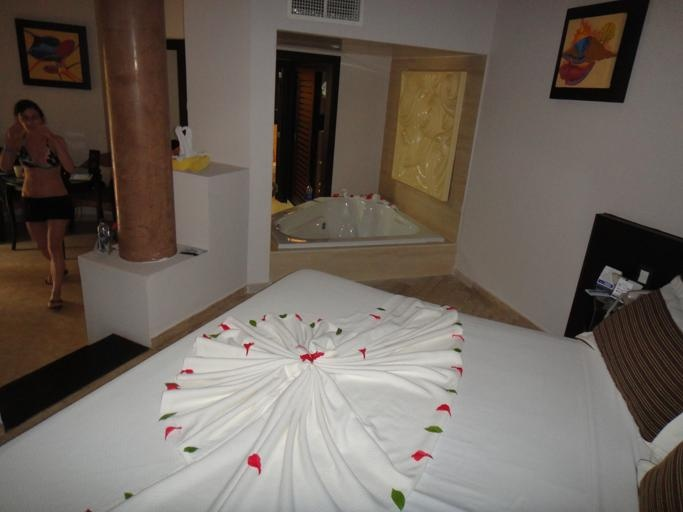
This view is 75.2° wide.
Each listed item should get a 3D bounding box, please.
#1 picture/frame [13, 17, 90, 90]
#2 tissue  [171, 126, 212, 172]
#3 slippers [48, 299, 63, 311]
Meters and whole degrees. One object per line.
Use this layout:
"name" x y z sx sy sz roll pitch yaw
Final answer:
"picture/frame" -3.356 -2.332 5.177 0.714 0.686 0.126 2 18 -9
"tissue " -1.215 -0.871 3.576 0.272 0.324 0.331 -2 21 -18
"slippers" -2.394 0.410 3.698 0.104 0.074 0.041 6 -3 -21
